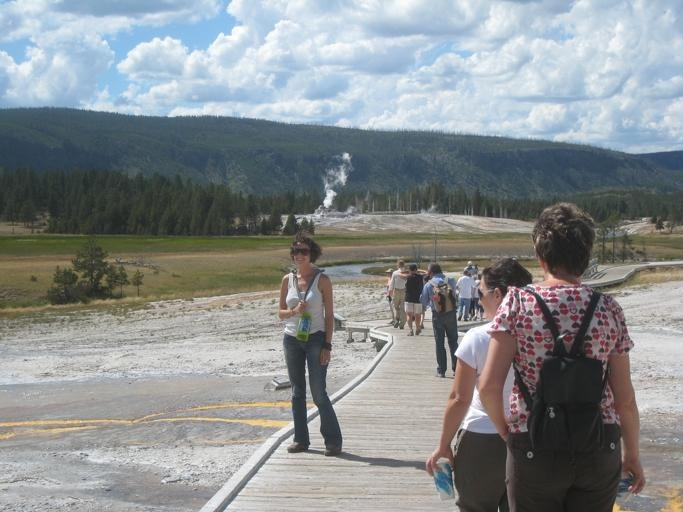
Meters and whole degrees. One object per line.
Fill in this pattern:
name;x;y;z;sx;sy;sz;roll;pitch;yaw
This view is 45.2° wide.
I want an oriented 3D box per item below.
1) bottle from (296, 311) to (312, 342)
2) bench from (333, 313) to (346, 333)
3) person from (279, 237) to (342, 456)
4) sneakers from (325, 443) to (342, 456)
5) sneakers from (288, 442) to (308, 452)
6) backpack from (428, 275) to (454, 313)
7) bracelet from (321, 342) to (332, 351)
bottle;-0.533;1.010;11.645;0.208;0.407;0.085;-2;3;-4
bench;-0.047;2.248;27.165;0.529;0.412;0.793;0;2;7
person;-0.457;1.274;11.859;0.860;3.186;0.497;-1;3;7
sneakers;-0.112;2.791;11.720;0.246;0.155;0.118;-2;3;-15
sneakers;-0.626;2.763;11.829;0.282;0.128;0.124;1;-1;4
backpack;2.066;0.852;16.373;0.442;0.636;0.619;-4;-38;0
bracelet;-0.203;1.304;11.703;0.112;0.077;0.118;8;-5;23
